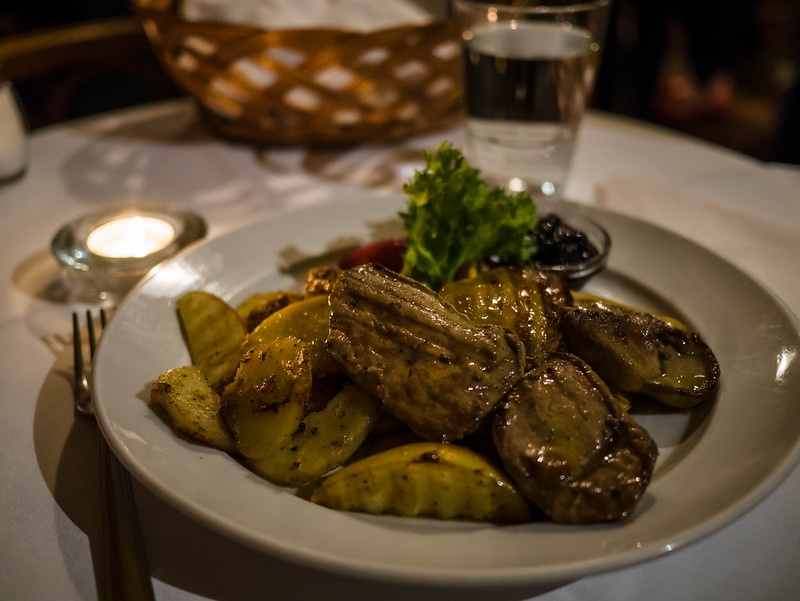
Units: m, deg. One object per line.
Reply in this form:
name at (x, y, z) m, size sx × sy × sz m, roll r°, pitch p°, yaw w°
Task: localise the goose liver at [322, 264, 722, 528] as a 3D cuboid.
goose liver at (0.249, 0.193, 1.814) m, size 0.710 × 0.156 × 0.765 m, roll 31°, pitch 40°, yaw 19°
